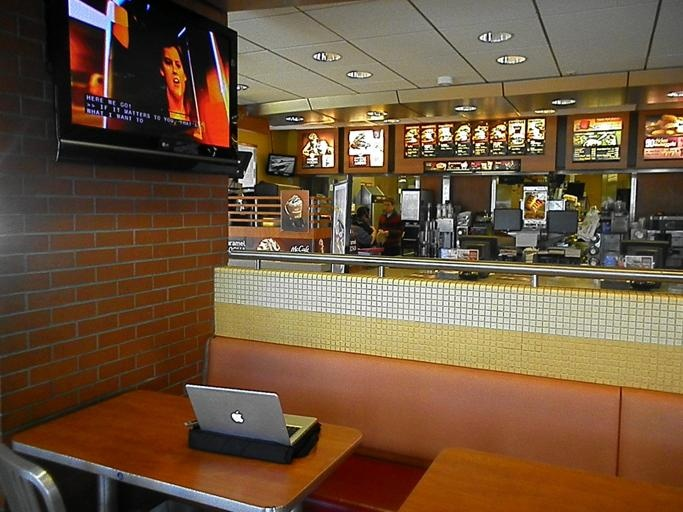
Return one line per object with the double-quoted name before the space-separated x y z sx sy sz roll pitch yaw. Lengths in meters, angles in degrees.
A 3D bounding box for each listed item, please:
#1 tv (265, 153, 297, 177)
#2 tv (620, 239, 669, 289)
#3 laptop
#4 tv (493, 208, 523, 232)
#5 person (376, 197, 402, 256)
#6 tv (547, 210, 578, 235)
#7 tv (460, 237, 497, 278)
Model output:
"tv" -1.191 -1.771 9.870 0.711 0.385 0.064 1 18 -15
"tv" 2.249 0.039 3.813 0.417 0.316 0.422 5 6 44
"laptop" -0.390 0.588 2.058 0.402 0.172 0.317 0 1 23
"tv" 2.353 -0.521 7.241 0.450 0.284 0.218 3 4 27
"person" 0.770 -0.476 8.043 0.363 0.903 0.767 2 7 5
"tv" 2.804 -0.438 6.470 0.391 0.284 0.143 2 4 27
"tv" 1.164 -0.002 4.313 0.244 0.241 0.414 1 13 25
